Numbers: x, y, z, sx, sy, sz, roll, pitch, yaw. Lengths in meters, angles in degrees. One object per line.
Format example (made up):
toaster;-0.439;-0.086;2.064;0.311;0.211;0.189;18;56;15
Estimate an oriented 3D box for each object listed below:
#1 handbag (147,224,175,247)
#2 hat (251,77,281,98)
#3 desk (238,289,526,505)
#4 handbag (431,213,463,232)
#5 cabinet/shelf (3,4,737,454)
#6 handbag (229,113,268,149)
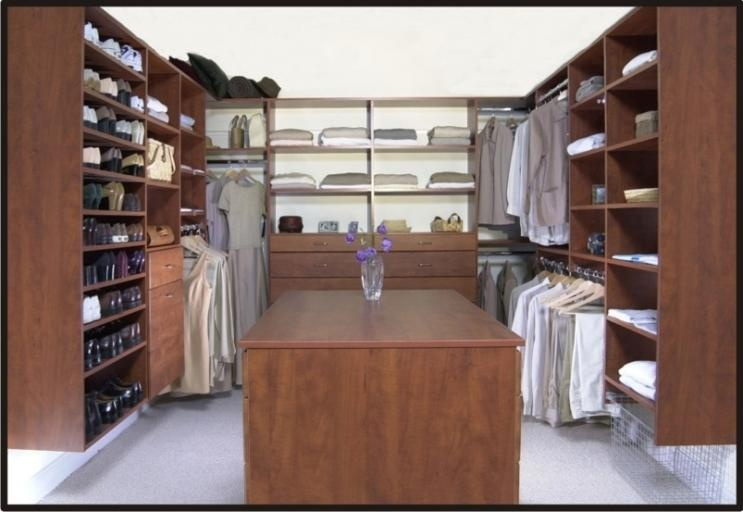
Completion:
handbag;-1.607;-0.154;4.217;0.164;0.057;0.172;-2;21;-5
hat;-0.979;-1.590;5.215;0.186;0.080;0.224;27;15;-7
desk;0.053;0.676;3.029;0.970;0.654;1.337;0;3;-2
handbag;0.734;-0.331;5.376;0.271;0.188;0.174;-1;4;3
cabinet/shelf;-0.016;-0.209;3.963;3.613;2.247;3.541;-1;5;1
handbag;-1.139;-1.134;5.353;0.321;0.425;0.431;0;5;6
